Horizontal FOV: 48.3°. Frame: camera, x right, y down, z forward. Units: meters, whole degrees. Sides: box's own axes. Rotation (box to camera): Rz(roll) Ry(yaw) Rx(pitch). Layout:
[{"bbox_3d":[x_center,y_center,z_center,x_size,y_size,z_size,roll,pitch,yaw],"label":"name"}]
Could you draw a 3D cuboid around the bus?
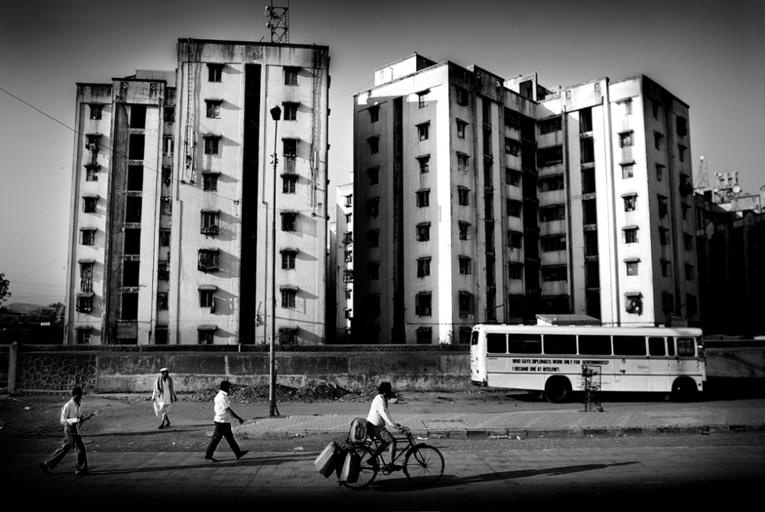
[{"bbox_3d":[11.943,6.181,49.713,12.727,4.580,1.158,-2,-7,6],"label":"bus"}]
